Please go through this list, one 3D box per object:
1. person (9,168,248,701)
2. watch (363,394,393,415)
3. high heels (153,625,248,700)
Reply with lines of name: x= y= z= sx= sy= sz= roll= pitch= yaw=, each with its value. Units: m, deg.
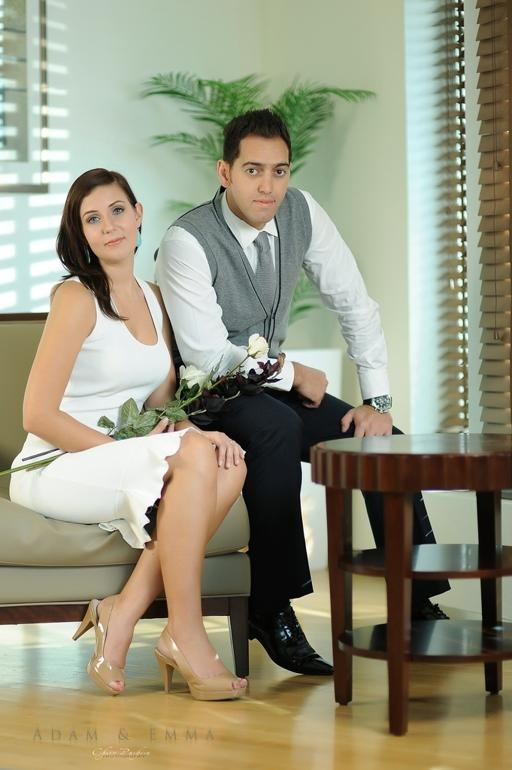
person: x=-0.231 y=0.063 z=1.345 sx=0.408 sy=0.995 sz=0.380 roll=3 pitch=-9 yaw=-21
watch: x=0.298 y=0.046 z=1.716 sx=0.048 sy=0.027 sz=0.053 roll=-3 pitch=0 yaw=-31
high heels: x=-0.097 y=0.485 z=1.242 sx=0.156 sy=0.131 sz=0.115 roll=0 pitch=-9 yaw=-4
